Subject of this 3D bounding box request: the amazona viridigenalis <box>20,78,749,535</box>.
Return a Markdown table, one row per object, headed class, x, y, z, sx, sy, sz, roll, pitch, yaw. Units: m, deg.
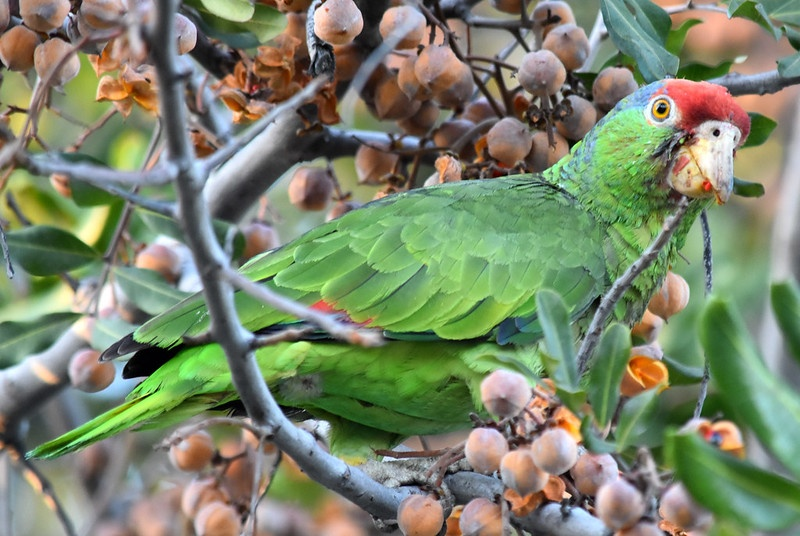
| class | x | y | z | sx | sy | sz | roll | pitch | yaw |
| --- | --- | --- | --- | --- | --- | --- | --- | --- | --- |
| amazona viridigenalis | 0.019 | 0.002 | 3.739 | 2.159 | 0.812 | 1.401 | 4 | 88 | 3 |
